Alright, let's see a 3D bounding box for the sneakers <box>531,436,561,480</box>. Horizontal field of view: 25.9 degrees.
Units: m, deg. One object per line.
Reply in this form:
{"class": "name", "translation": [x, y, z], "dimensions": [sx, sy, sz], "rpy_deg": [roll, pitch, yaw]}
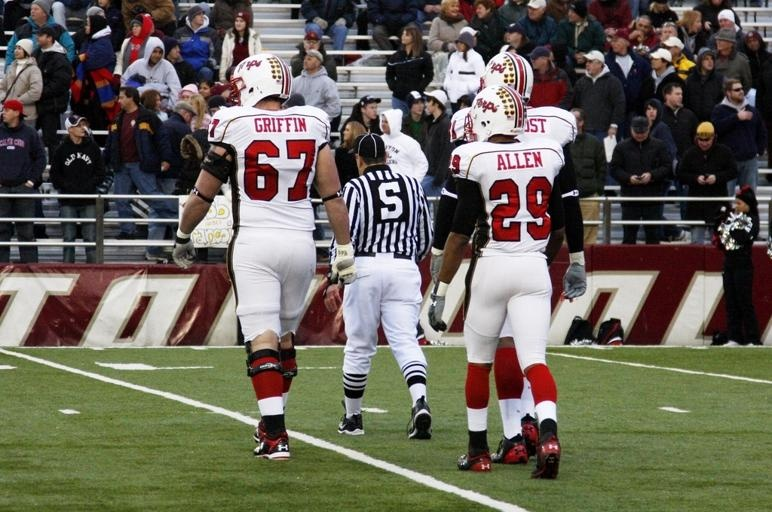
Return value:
{"class": "sneakers", "translation": [1.553, 1.957, 16.034], "dimensions": [0.194, 0.480, 0.273], "rpy_deg": [31, 54, 19]}

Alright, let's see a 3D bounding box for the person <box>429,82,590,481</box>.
{"class": "person", "translation": [1.136, 0.222, 16.354], "dimensions": [1.325, 3.701, 1.199], "rpy_deg": [3, 11, 12]}

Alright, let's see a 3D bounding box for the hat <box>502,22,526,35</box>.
{"class": "hat", "translation": [1.873, -3.301, 24.196], "dimensions": [0.240, 0.122, 0.151], "rpy_deg": [1, 6, -8]}

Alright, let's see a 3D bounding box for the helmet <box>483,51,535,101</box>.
{"class": "helmet", "translation": [1.260, -1.874, 16.903], "dimensions": [0.418, 0.499, 0.536], "rpy_deg": [21, -1, 8]}

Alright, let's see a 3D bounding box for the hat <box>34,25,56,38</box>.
{"class": "hat", "translation": [-4.832, -3.228, 23.936], "dimensions": [0.290, 0.152, 0.204], "rpy_deg": [4, 12, -3]}

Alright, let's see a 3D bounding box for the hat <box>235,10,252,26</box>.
{"class": "hat", "translation": [-2.075, -3.601, 25.103], "dimensions": [0.208, 0.241, 0.271], "rpy_deg": [17, 4, 4]}

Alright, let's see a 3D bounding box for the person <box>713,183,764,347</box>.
{"class": "person", "translation": [4.699, 0.142, 22.358], "dimensions": [0.621, 2.152, 0.337], "rpy_deg": [2, 11, 9]}

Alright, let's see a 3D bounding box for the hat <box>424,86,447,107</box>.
{"class": "hat", "translation": [0.754, -2.231, 23.259], "dimensions": [0.387, 0.197, 0.246], "rpy_deg": [24, 8, -5]}

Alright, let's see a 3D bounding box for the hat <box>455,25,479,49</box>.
{"class": "hat", "translation": [1.168, -3.251, 24.498], "dimensions": [0.370, 0.189, 0.269], "rpy_deg": [0, 1, 27]}

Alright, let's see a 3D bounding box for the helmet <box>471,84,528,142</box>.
{"class": "helmet", "translation": [1.106, -1.405, 16.328], "dimensions": [0.437, 0.487, 0.580], "rpy_deg": [-9, 19, -34]}

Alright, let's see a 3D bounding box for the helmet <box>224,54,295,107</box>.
{"class": "helmet", "translation": [-1.184, -1.763, 16.711], "dimensions": [0.604, 0.470, 0.469], "rpy_deg": [10, 10, 30]}

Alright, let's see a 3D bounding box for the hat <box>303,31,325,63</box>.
{"class": "hat", "translation": [-1.043, -3.126, 24.574], "dimensions": [0.309, 0.447, 0.386], "rpy_deg": [0, -11, -4]}

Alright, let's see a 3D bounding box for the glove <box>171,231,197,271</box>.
{"class": "glove", "translation": [-2.006, -0.057, 16.846], "dimensions": [0.251, 0.345, 0.162], "rpy_deg": [24, 8, -2]}

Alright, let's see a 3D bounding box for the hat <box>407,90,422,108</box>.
{"class": "hat", "translation": [0.432, -2.231, 23.648], "dimensions": [0.220, 0.216, 0.348], "rpy_deg": [0, 11, -1]}

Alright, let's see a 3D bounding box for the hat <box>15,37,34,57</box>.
{"class": "hat", "translation": [-5.022, -2.957, 23.510], "dimensions": [0.266, 0.253, 0.191], "rpy_deg": [-5, 0, -28]}

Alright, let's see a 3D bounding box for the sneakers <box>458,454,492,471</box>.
{"class": "sneakers", "translation": [0.888, 2.032, 16.313], "dimensions": [0.152, 0.126, 0.301], "rpy_deg": [0, 1, -40]}

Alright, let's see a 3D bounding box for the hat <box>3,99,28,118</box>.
{"class": "hat", "translation": [-4.964, -2.025, 22.652], "dimensions": [0.294, 0.220, 0.199], "rpy_deg": [9, 16, -44]}

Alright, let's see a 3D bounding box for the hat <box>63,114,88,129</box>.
{"class": "hat", "translation": [-4.150, -1.812, 22.657], "dimensions": [0.262, 0.191, 0.467], "rpy_deg": [-2, 11, -11]}

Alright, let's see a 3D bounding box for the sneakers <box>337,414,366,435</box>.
{"class": "sneakers", "translation": [-0.334, 1.777, 17.371], "dimensions": [0.138, 0.148, 0.331], "rpy_deg": [0, 2, -20]}
